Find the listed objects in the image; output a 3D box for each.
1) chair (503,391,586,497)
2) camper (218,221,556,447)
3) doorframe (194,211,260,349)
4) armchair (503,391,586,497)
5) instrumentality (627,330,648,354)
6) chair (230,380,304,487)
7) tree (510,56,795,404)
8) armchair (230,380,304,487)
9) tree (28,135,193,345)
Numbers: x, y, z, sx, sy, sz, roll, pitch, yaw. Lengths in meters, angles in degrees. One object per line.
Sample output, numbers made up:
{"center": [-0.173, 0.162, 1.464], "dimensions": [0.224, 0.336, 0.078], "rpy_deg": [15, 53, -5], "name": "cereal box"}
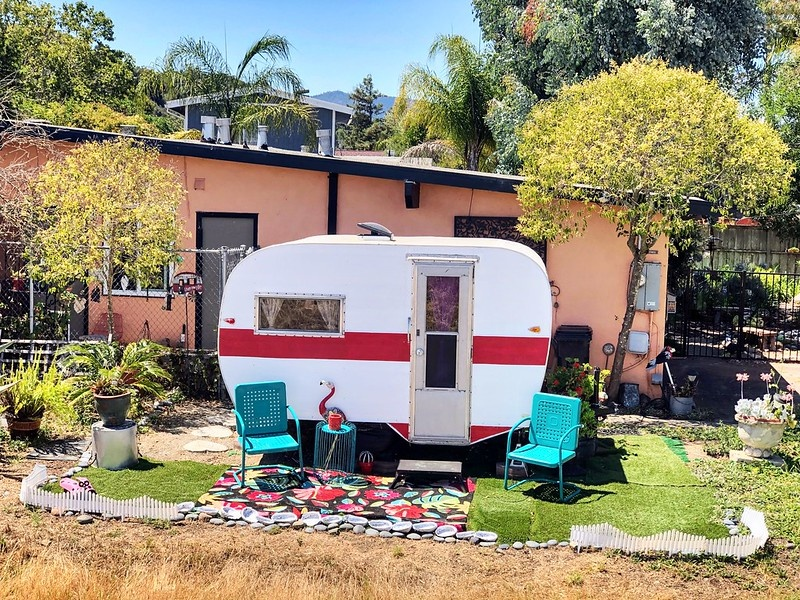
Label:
{"center": [2.069, 2.119, 13.720], "dimensions": [0.938, 1.459, 1.056], "rpy_deg": [-2, 7, -32], "name": "chair"}
{"center": [-0.192, -0.246, 15.710], "dimensions": [5.103, 3.836, 3.581], "rpy_deg": [3, 33, 3], "name": "camper"}
{"center": [-3.438, -0.369, 18.693], "dimensions": [1.172, 3.035, 0.273], "rpy_deg": [-3, 32, -9], "name": "doorframe"}
{"center": [2.076, 2.118, 13.734], "dimensions": [0.936, 1.452, 1.109], "rpy_deg": [2, 6, 4], "name": "armchair"}
{"center": [4.350, 0.775, 17.448], "dimensions": [0.325, 0.414, 0.250], "rpy_deg": [5, -1, 9], "name": "instrumentality"}
{"center": [-1.897, 1.958, 13.840], "dimensions": [0.812, 1.472, 0.963], "rpy_deg": [-3, 7, -9], "name": "chair"}
{"center": [4.224, -1.303, 16.694], "dimensions": [4.310, 4.932, 1.770], "rpy_deg": [1, 0, 8], "name": "tree"}
{"center": [-1.907, 1.960, 13.845], "dimensions": [0.806, 1.476, 0.935], "rpy_deg": [-6, 7, -28], "name": "armchair"}
{"center": [-5.378, -1.322, 17.297], "dimensions": [3.124, 5.018, 3.048], "rpy_deg": [-3, 2, -26], "name": "tree"}
